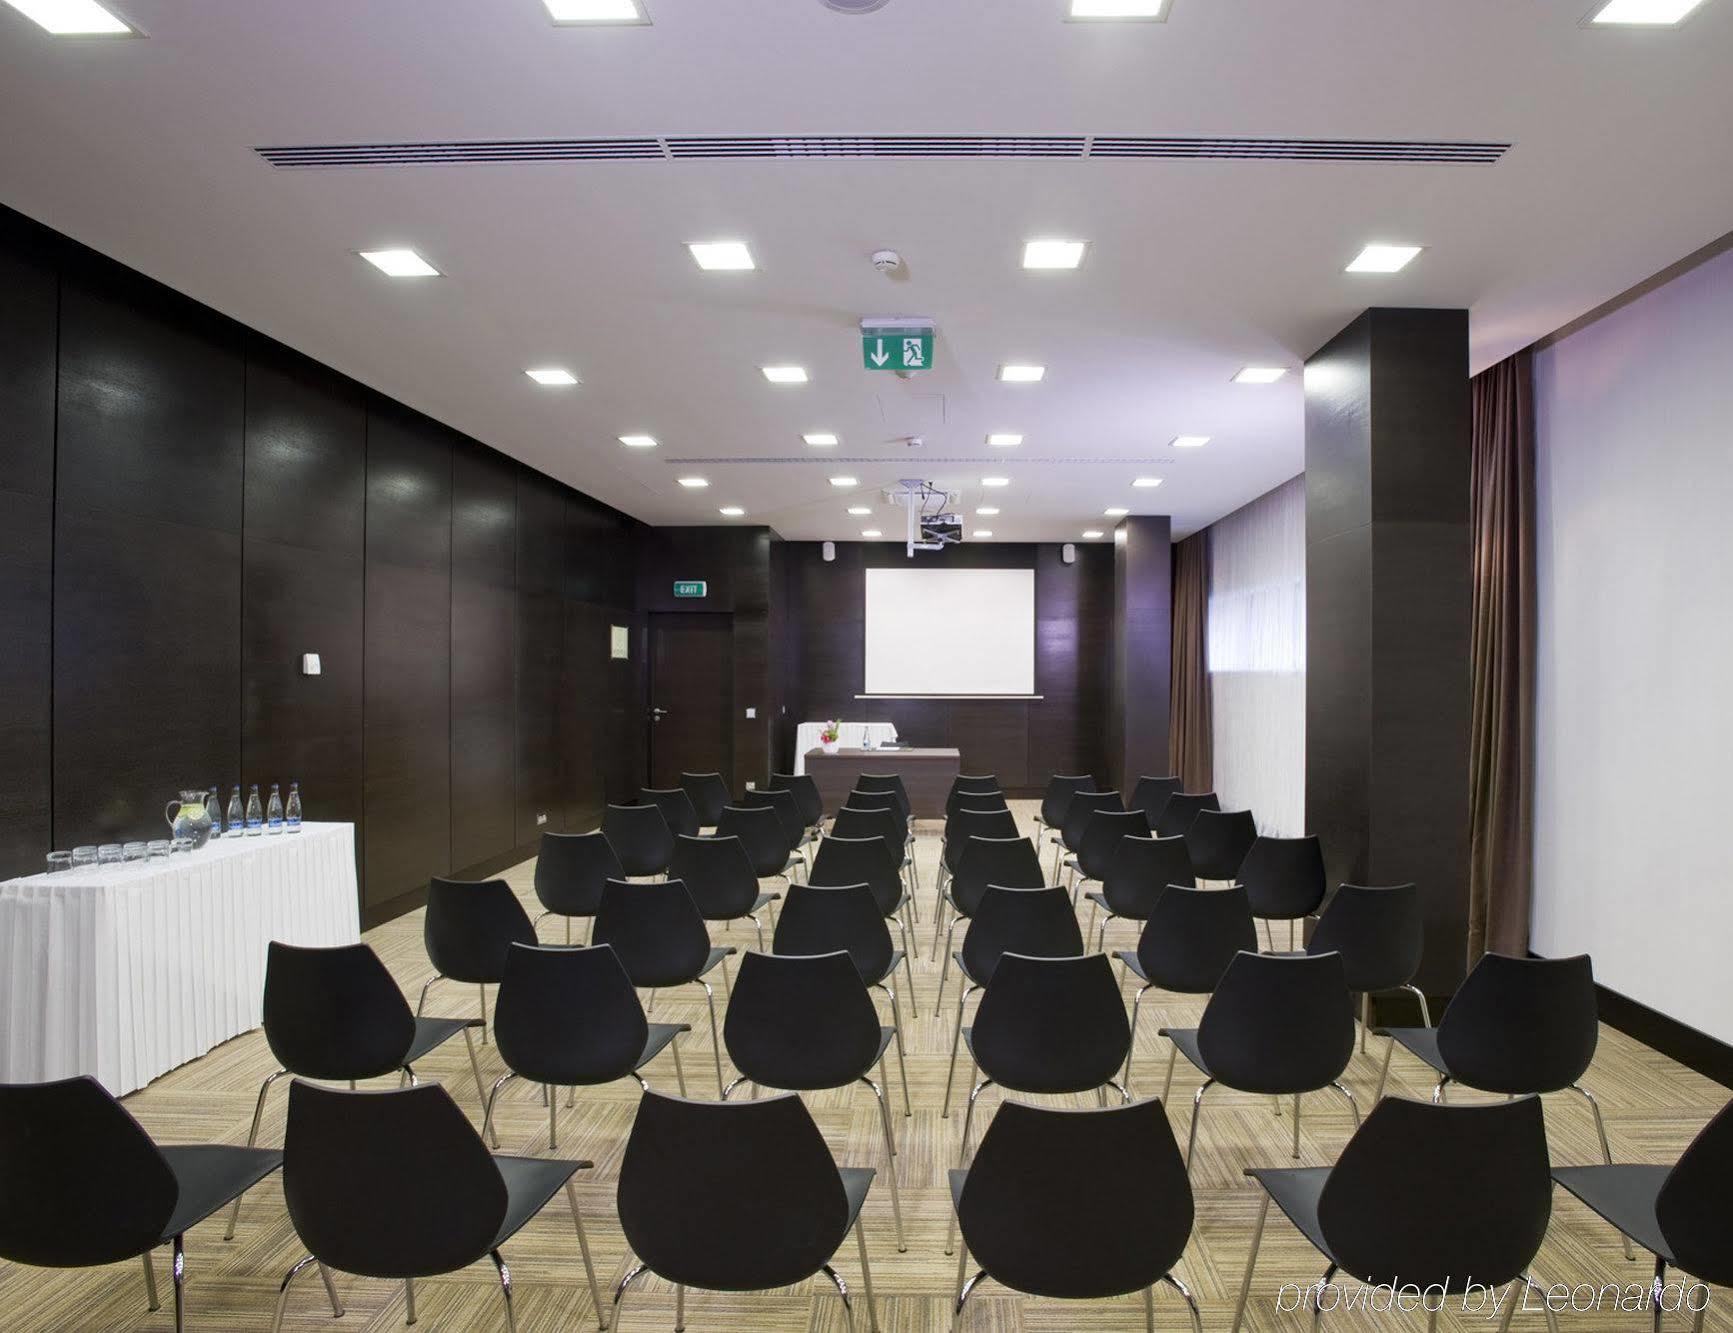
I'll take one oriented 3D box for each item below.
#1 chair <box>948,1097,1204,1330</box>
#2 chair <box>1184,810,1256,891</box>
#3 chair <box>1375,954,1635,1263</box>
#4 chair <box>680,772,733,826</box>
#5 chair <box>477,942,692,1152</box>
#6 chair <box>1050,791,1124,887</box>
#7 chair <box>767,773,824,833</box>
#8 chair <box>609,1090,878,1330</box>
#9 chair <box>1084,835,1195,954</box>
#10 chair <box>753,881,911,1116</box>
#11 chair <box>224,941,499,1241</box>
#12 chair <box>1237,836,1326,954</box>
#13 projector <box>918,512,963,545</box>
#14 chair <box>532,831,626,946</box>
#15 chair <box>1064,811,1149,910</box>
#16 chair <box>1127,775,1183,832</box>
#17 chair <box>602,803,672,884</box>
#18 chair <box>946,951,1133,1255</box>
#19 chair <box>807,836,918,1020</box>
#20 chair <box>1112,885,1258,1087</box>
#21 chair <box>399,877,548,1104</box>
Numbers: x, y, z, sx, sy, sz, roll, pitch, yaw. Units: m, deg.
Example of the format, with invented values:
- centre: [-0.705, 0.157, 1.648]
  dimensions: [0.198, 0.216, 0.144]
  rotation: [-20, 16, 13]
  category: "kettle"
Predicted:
- centre: [0.611, 1.535, 3.934]
  dimensions: [0.601, 1.039, 0.613]
  rotation: [0, 1, 3]
  category: "chair"
- centre: [1.978, 1.025, 7.268]
  dimensions: [0.380, 0.660, 0.421]
  rotation: [1, -9, 12]
  category: "chair"
- centre: [2.339, 1.636, 4.960]
  dimensions: [0.887, 1.494, 0.951]
  rotation: [0, -2, 0]
  category: "chair"
- centre: [-1.106, 0.895, 8.806]
  dimensions: [0.338, 0.545, 0.408]
  rotation: [0, -3, 3]
  category: "chair"
- centre: [-1.070, 1.282, 4.860]
  dimensions: [0.711, 1.155, 0.721]
  rotation: [0, 0, 4]
  category: "chair"
- centre: [1.396, 1.115, 8.369]
  dimensions: [0.423, 0.911, 0.545]
  rotation: [1, 2, 1]
  category: "chair"
- centre: [-0.452, 0.937, 8.879]
  dimensions: [0.281, 0.585, 0.371]
  rotation: [0, -5, 2]
  category: "chair"
- centre: [-0.351, 1.539, 4.016]
  dimensions: [0.667, 1.057, 0.657]
  rotation: [0, 1, 3]
  category: "chair"
- centre: [1.327, 1.141, 6.540]
  dimensions: [0.388, 0.806, 0.488]
  rotation: [1, -4, 5]
  category: "chair"
- centre: [-0.104, 1.404, 5.499]
  dimensions: [0.689, 1.421, 0.849]
  rotation: [-1, -4, 2]
  category: "chair"
- centre: [-1.923, 1.556, 4.821]
  dimensions: [0.789, 1.419, 0.991]
  rotation: [0, -1, 6]
  category: "chair"
- centre: [2.108, 1.151, 6.409]
  dimensions: [0.416, 0.784, 0.492]
  rotation: [1, -8, 10]
  category: "chair"
- centre: [0.642, -1.262, 11.400]
  dimensions: [0.348, 0.316, 0.444]
  rotation: [0, -2, 0]
  category: "projector"
- centre: [-1.421, 1.107, 6.420]
  dimensions: [0.429, 0.802, 0.465]
  rotation: [1, 0, 5]
  category: "chair"
- centre: [1.326, 1.099, 7.255]
  dimensions: [0.393, 0.829, 0.499]
  rotation: [1, -3, -1]
  category: "chair"
- centre: [2.020, 0.933, 8.913]
  dimensions: [0.334, 0.575, 0.364]
  rotation: [-2, -11, 18]
  category: "chair"
- centre: [-1.292, 0.981, 7.294]
  dimensions: [0.378, 0.705, 0.449]
  rotation: [1, 0, 4]
  category: "chair"
- centre: [0.672, 1.449, 4.759]
  dimensions: [0.580, 1.206, 0.714]
  rotation: [0, -1, 2]
  category: "chair"
- centre: [-0.009, 1.274, 6.513]
  dimensions: [0.615, 1.301, 0.781]
  rotation: [0, -3, 2]
  category: "chair"
- centre: [1.370, 1.292, 5.393]
  dimensions: [0.526, 1.118, 0.670]
  rotation: [1, 1, 1]
  category: "chair"
- centre: [-1.665, 1.326, 5.407]
  dimensions: [0.645, 1.046, 0.651]
  rotation: [1, 1, 5]
  category: "chair"
